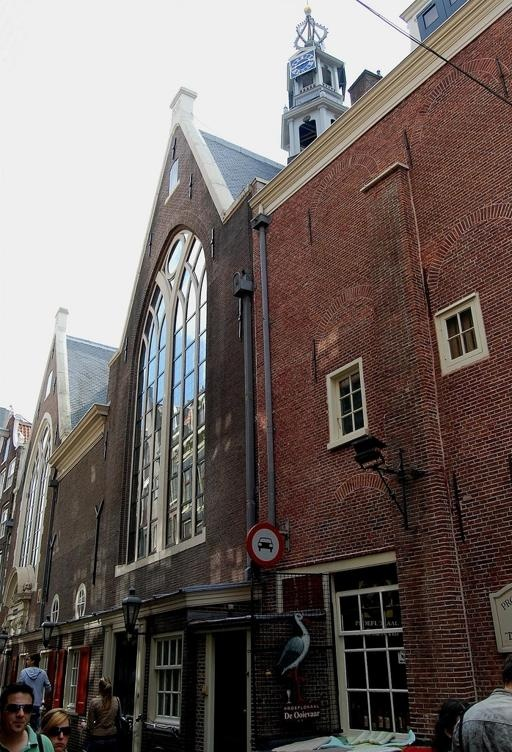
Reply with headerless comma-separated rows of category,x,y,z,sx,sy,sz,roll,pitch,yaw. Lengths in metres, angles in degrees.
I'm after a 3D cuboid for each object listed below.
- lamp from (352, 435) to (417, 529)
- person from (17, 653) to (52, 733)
lamp,1.889,1.543,8.135,0.830,1.401,0.779,18,-33,-22
person,-3.881,5.612,9.833,0.488,1.479,0.449,3,-4,-15
